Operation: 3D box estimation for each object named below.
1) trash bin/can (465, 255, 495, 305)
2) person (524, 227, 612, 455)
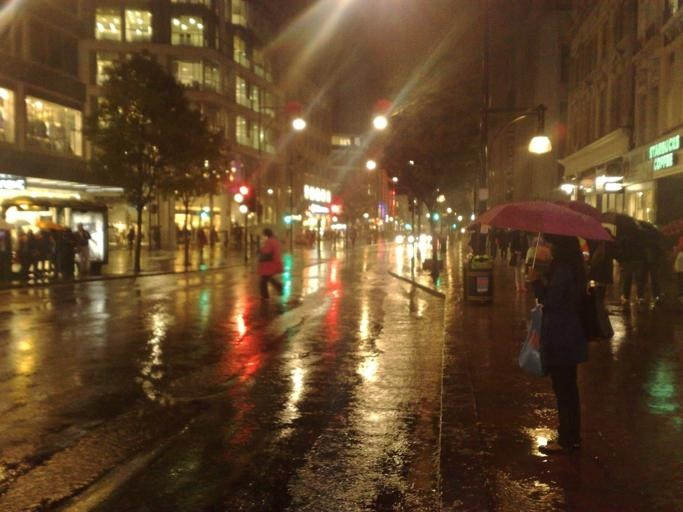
[{"bbox_3d":[3.738,0.619,19.827,0.983,0.821,1.080,0,4,7],"label":"trash bin/can"},{"bbox_3d":[2.396,0.916,7.761,0.726,2.363,0.384,1,0,4],"label":"person"}]
